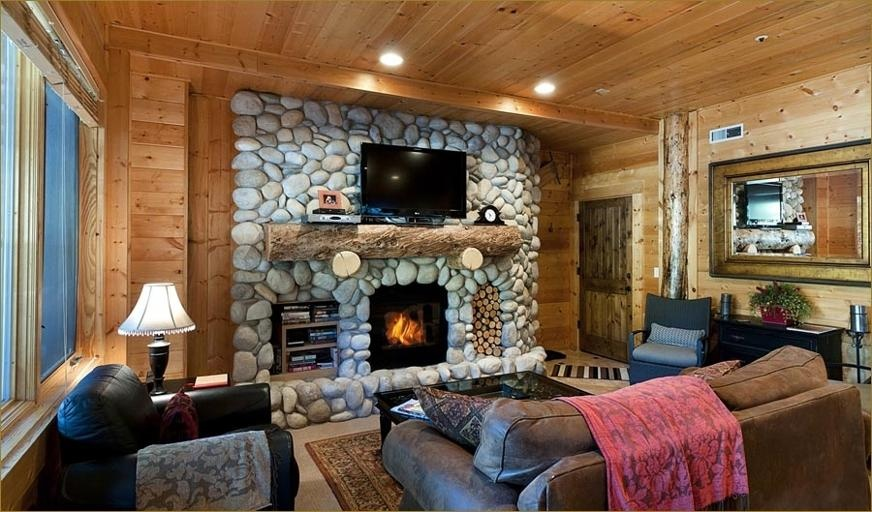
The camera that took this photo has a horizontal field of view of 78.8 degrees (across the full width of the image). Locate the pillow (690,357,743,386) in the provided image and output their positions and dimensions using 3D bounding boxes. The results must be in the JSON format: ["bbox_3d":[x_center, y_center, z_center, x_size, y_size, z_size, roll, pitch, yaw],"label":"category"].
[{"bbox_3d":[1.992,0.799,3.716,0.367,0.083,0.213,-10,4,-7],"label":"pillow"}]

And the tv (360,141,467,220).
[{"bbox_3d":[-0.301,-0.858,5.971,1.193,0.627,0.111,1,-2,-21],"label":"tv"}]

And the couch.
[{"bbox_3d":[1.384,1.214,3.402,3.289,1.094,0.741,0,0,-8],"label":"couch"}]

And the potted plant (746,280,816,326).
[{"bbox_3d":[3.615,0.494,5.574,0.525,0.311,0.483,2,-4,0],"label":"potted plant"}]

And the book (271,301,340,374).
[{"bbox_3d":[-1.411,0.851,5.639,0.967,0.909,0.553,0,-3,-24],"label":"book"}]

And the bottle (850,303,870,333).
[{"bbox_3d":[4.154,0.622,5.224,0.139,0.299,0.194,0,0,40],"label":"bottle"}]

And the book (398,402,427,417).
[{"bbox_3d":[-0.177,1.249,4.328,0.261,0.051,0.243,6,2,22],"label":"book"}]

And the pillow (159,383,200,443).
[{"bbox_3d":[-1.867,1.145,3.965,0.289,0.382,0.648,8,-9,-34],"label":"pillow"}]

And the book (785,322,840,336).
[{"bbox_3d":[3.781,0.740,5.364,0.526,0.073,0.307,0,-1,-30],"label":"book"}]

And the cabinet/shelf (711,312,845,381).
[{"bbox_3d":[3.158,0.817,4.826,0.323,0.626,0.767,6,-6,-29],"label":"cabinet/shelf"}]

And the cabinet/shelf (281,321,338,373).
[{"bbox_3d":[-1.367,0.955,5.667,0.700,0.526,0.224,1,-5,-24],"label":"cabinet/shelf"}]

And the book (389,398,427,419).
[{"bbox_3d":[-0.215,1.249,4.309,0.312,0.062,0.312,1,2,-39],"label":"book"}]

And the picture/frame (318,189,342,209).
[{"bbox_3d":[-1.109,-0.596,5.522,0.288,0.227,0.024,1,-20,-24],"label":"picture/frame"}]

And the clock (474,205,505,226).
[{"bbox_3d":[0.636,-0.494,6.308,0.385,0.266,0.261,0,0,-11],"label":"clock"}]

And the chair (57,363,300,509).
[{"bbox_3d":[-1.733,1.185,3.690,1.403,0.881,1.366,1,-3,-30],"label":"chair"}]
